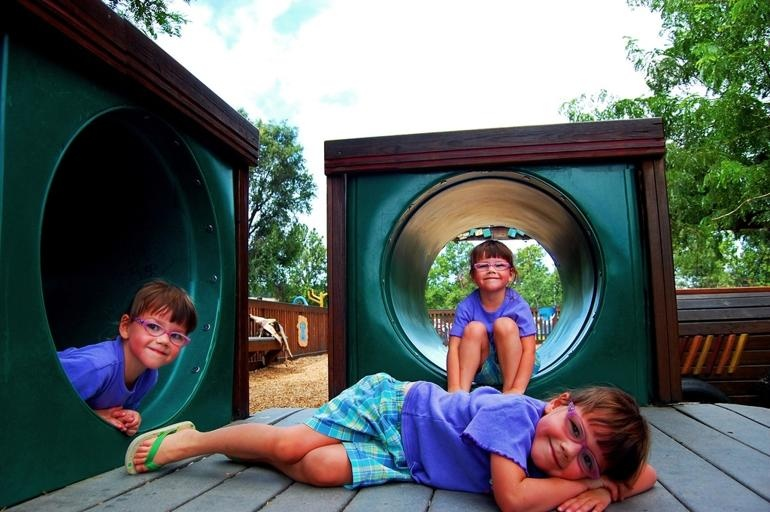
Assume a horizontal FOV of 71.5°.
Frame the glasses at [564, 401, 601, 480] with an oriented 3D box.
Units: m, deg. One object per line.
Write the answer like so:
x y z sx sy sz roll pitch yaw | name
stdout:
0.842 0.802 2.294 0.130 0.339 0.103 0 -1 7 | glasses

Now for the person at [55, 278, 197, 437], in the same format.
-1.372 0.486 2.881 0.600 0.752 0.513 12 -17 39 | person
